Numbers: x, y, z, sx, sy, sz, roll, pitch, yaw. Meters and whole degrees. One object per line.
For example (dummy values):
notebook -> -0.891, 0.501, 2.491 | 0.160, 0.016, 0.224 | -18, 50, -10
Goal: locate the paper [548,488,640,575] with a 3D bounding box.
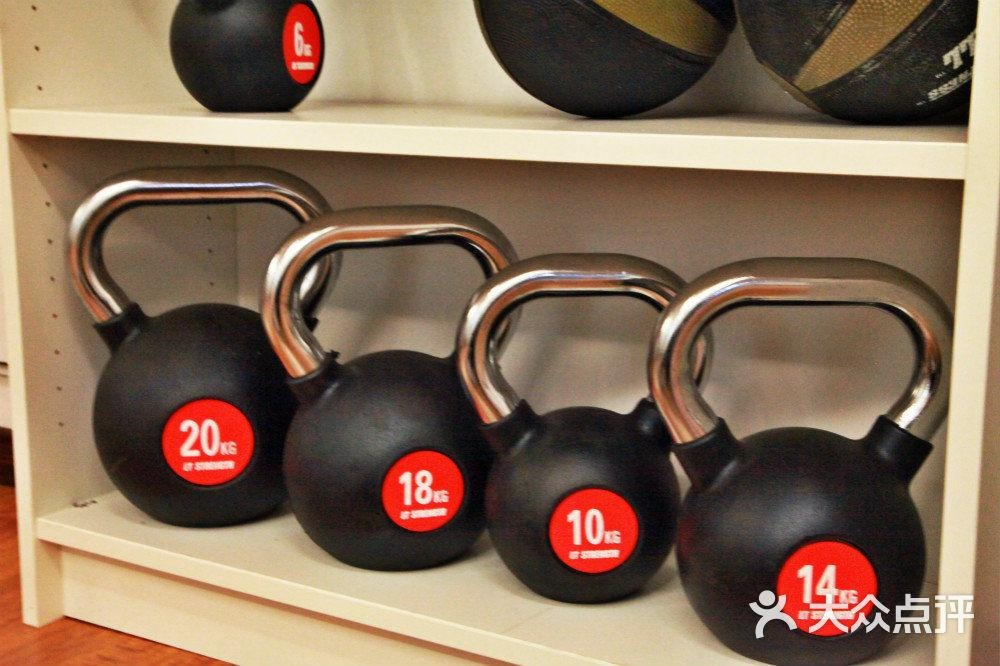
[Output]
paper -> 0.105, 0.222, 0.850 | 0.117, 0.085, 0.011 | 14, 8, -13

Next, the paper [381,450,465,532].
paper -> -0.095, 0.197, 0.920 | 0.121, 0.096, 0.015 | 12, -18, -40

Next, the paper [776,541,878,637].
paper -> 0.328, 0.254, 0.753 | 0.115, 0.084, 0.010 | 12, 5, -10

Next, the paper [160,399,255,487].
paper -> -0.393, 0.143, 1.011 | 0.114, 0.106, 0.023 | -3, 19, -16

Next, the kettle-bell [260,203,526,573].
kettle-bell -> -0.159, 0.072, 1.029 | 0.391, 0.447, 0.308 | -5, 21, -40
